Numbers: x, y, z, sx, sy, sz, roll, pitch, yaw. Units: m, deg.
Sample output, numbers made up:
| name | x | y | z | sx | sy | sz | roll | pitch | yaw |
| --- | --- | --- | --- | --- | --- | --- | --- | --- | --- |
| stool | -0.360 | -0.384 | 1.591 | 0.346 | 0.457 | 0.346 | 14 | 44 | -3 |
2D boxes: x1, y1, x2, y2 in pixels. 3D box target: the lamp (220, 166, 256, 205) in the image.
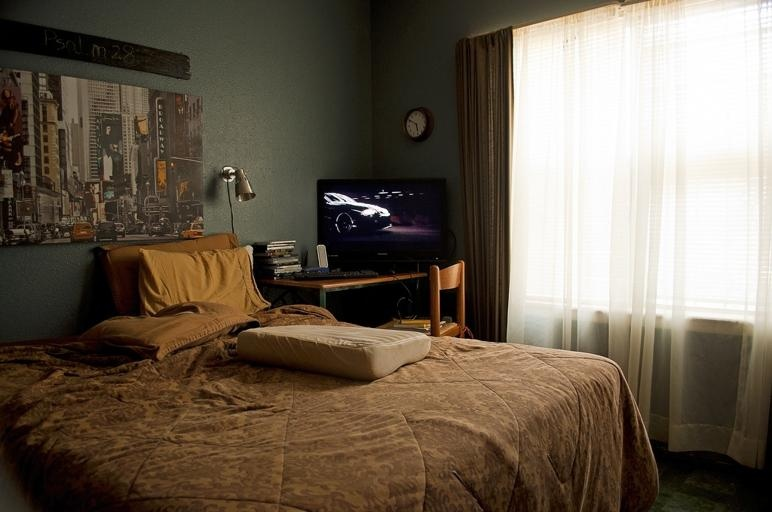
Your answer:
| name | x | y | z | sx | sy | sz | roll | pitch | yaw |
| --- | --- | --- | --- | --- | --- | --- | --- | --- | --- |
| lamp | -1.060 | -0.528 | 4.187 | 0.273 | 0.255 | 0.285 | -4 | 7 | -34 |

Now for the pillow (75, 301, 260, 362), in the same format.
| name | x | y | z | sx | sy | sz | roll | pitch | yaw |
| --- | --- | --- | --- | --- | --- | --- | --- | --- | --- |
| pillow | -1.072 | 0.375 | 2.962 | 0.444 | 0.128 | 0.458 | 1 | 4 | 30 |

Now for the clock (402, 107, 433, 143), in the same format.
| name | x | y | z | sx | sy | sz | roll | pitch | yaw |
| --- | --- | --- | --- | --- | --- | --- | --- | --- | --- |
| clock | 0.272 | -1.114 | 4.892 | 0.281 | 0.281 | 0.063 | 5 | 8 | 39 |

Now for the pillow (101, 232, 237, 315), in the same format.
| name | x | y | z | sx | sy | sz | roll | pitch | yaw |
| --- | --- | --- | --- | --- | --- | --- | --- | --- | --- |
| pillow | -1.456 | 0.063 | 3.668 | 0.535 | 0.198 | 0.528 | -4 | 18 | -35 |
